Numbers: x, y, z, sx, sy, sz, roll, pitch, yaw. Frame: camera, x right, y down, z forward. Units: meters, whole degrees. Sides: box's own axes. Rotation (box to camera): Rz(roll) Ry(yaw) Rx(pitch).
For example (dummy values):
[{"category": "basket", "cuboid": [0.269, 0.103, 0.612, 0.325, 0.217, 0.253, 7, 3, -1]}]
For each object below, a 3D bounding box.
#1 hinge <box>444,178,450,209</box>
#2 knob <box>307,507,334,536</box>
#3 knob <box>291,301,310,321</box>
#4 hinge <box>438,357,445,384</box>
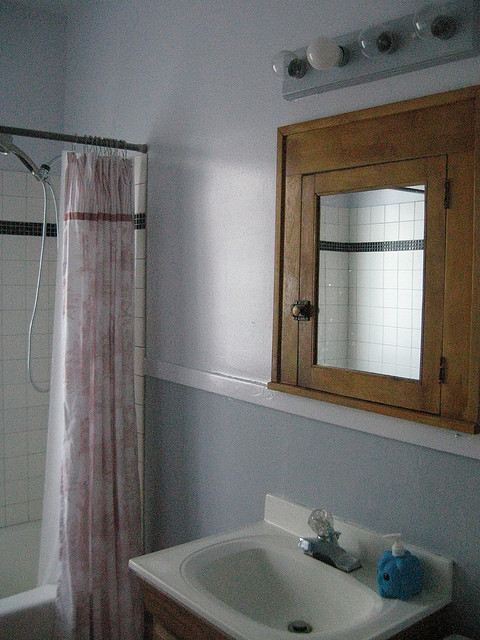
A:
[{"category": "hinge", "cuboid": [0.416, -0.253, 1.012, 0.004, 0.060, 0.012, -3, 2, -41]}, {"category": "knob", "cuboid": [0.198, 0.482, 1.219, 0.046, 0.067, 0.029, -12, -9, -4]}, {"category": "knob", "cuboid": [0.165, -0.023, 1.343, 0.046, 0.050, 0.046, -3, 5, -42]}, {"category": "hinge", "cuboid": [0.414, 0.106, 1.038, 0.004, 0.055, 0.013, -2, 1, -35]}]
